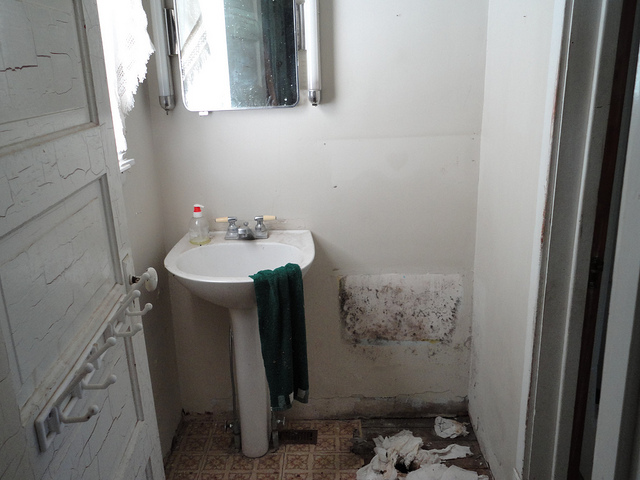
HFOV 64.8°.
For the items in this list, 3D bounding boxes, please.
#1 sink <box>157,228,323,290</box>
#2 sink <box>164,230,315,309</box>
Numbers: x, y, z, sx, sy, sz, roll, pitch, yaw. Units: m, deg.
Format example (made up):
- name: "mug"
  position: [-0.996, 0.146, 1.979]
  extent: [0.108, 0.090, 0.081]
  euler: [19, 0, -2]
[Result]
- name: "sink"
  position: [-0.312, 0.100, 2.124]
  extent: [0.635, 0.185, 0.472]
  euler: [-1, 21, 1]
- name: "sink"
  position: [-0.326, 0.147, 2.148]
  extent: [0.604, 0.243, 0.494]
  euler: [-1, 21, 0]
